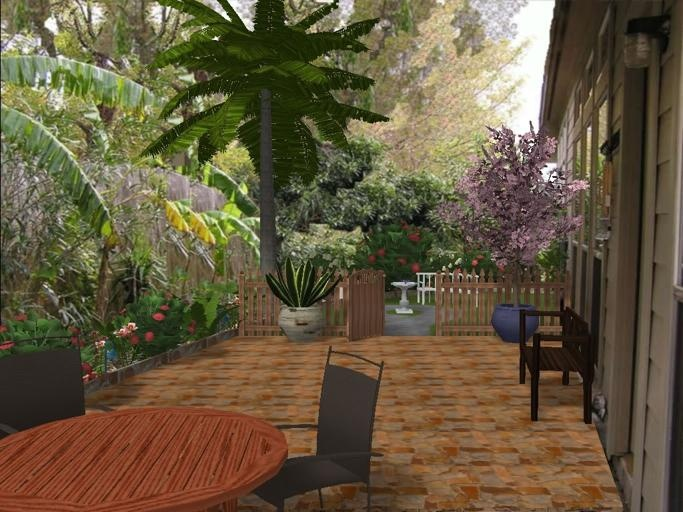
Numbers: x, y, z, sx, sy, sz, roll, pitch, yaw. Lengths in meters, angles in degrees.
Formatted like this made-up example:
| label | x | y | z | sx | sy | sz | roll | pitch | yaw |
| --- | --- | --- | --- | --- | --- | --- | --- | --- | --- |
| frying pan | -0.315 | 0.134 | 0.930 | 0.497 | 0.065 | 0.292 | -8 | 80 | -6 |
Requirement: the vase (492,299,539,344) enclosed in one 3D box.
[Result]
| label | x | y | z | sx | sy | sz | roll | pitch | yaw |
| --- | --- | --- | --- | --- | --- | --- | --- | --- | --- |
| vase | 3.298 | 1.290 | 9.112 | 0.905 | 0.736 | 0.893 | -1 | 1 | -8 |

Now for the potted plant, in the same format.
| label | x | y | z | sx | sy | sz | roll | pitch | yaw |
| --- | --- | --- | --- | --- | --- | --- | --- | --- | --- |
| potted plant | -0.813 | 0.960 | 9.779 | 1.347 | 1.552 | 1.438 | 1 | -3 | -2 |

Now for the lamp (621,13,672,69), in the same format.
| label | x | y | z | sx | sy | sz | roll | pitch | yaw |
| --- | --- | --- | --- | --- | --- | --- | --- | --- | --- |
| lamp | 2.190 | -1.578 | 3.424 | 0.269 | 0.293 | 0.200 | 9 | 44 | 40 |

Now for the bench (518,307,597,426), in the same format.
| label | x | y | z | sx | sy | sz | roll | pitch | yaw |
| --- | --- | --- | --- | --- | --- | --- | --- | --- | --- |
| bench | 2.624 | 1.365 | 5.806 | 0.400 | 0.614 | 1.165 | 1 | 0 | 10 |
